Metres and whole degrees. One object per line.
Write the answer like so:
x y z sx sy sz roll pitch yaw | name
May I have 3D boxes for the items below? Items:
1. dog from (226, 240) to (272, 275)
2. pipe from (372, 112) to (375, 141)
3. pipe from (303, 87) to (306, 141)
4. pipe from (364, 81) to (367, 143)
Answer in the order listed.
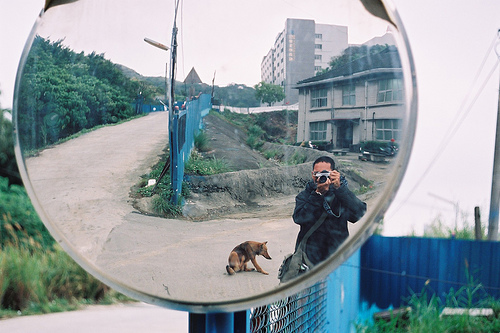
-0.010 0.722 3.740 0.346 0.276 0.194 1 3 19 | dog
0.894 -0.290 3.376 0.013 0.201 0.026 2 0 4 | pipe
0.422 -0.410 3.602 0.019 0.404 0.090 2 0 7 | pipe
0.846 -0.396 3.394 0.022 0.429 0.050 2 0 17 | pipe
